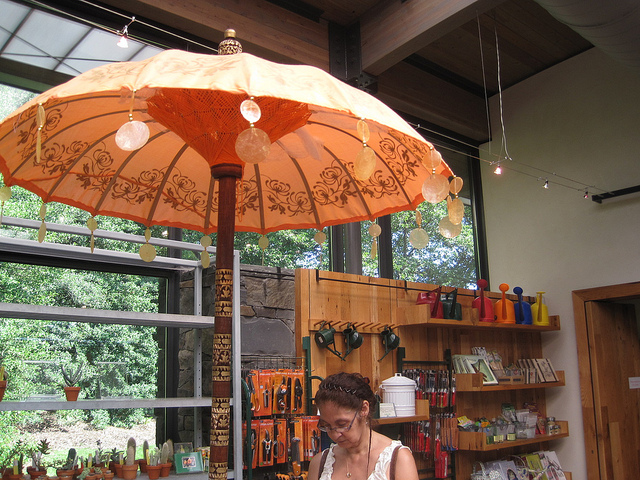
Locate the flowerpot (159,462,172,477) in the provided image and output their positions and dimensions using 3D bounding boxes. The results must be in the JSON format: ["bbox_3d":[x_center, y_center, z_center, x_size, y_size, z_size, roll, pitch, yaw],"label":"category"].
[{"bbox_3d":[-0.921,1.383,3.086,0.060,0.054,0.064,3,-5,-11],"label":"flowerpot"}]

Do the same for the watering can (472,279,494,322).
[{"bbox_3d":[1.625,0.622,5.128,0.202,0.427,0.321,-2,-15,7],"label":"watering can"}]

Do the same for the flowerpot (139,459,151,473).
[{"bbox_3d":[-1.071,1.384,3.164,0.069,0.061,0.071,-10,-16,37],"label":"flowerpot"}]

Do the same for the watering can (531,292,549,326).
[{"bbox_3d":[2.315,0.736,5.446,0.140,0.358,0.274,-14,-21,43],"label":"watering can"}]

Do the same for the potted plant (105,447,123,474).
[{"bbox_3d":[-1.269,1.367,3.185,0.081,0.121,0.082,-6,-14,31],"label":"potted plant"}]

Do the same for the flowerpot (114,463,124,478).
[{"bbox_3d":[-1.181,1.367,3.050,0.063,0.075,0.067,2,-14,-13],"label":"flowerpot"}]

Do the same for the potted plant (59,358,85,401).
[{"bbox_3d":[-1.445,0.826,3.019,0.128,0.228,0.120,-5,-10,25],"label":"potted plant"}]

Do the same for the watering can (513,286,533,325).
[{"bbox_3d":[2.107,0.695,5.371,0.262,0.388,0.117,7,-16,-24],"label":"watering can"}]

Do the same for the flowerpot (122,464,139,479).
[{"bbox_3d":[-1.097,1.349,2.999,0.074,0.067,0.080,8,-25,-9],"label":"flowerpot"}]

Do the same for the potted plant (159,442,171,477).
[{"bbox_3d":[-0.936,1.337,3.130,0.077,0.190,0.153,4,-16,-16],"label":"potted plant"}]

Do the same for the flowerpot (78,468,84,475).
[{"bbox_3d":[-1.360,1.327,2.943,0.031,0.027,0.032,-9,-14,36],"label":"flowerpot"}]

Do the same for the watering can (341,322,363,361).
[{"bbox_3d":[0.268,0.821,4.094,0.127,0.223,0.194,2,-18,36],"label":"watering can"}]

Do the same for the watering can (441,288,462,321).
[{"bbox_3d":[1.192,0.614,4.746,0.168,0.289,0.302,-2,-9,2],"label":"watering can"}]

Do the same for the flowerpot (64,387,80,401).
[{"bbox_3d":[-1.370,0.858,2.865,0.069,0.062,0.073,8,-17,-20],"label":"flowerpot"}]

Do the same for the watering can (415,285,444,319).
[{"bbox_3d":[1.002,0.572,4.630,0.176,0.249,0.328,9,-17,-25],"label":"watering can"}]

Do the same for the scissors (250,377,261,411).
[{"bbox_3d":[-0.442,1.066,3.537,0.065,0.207,0.014,-5,3,-2],"label":"scissors"}]
